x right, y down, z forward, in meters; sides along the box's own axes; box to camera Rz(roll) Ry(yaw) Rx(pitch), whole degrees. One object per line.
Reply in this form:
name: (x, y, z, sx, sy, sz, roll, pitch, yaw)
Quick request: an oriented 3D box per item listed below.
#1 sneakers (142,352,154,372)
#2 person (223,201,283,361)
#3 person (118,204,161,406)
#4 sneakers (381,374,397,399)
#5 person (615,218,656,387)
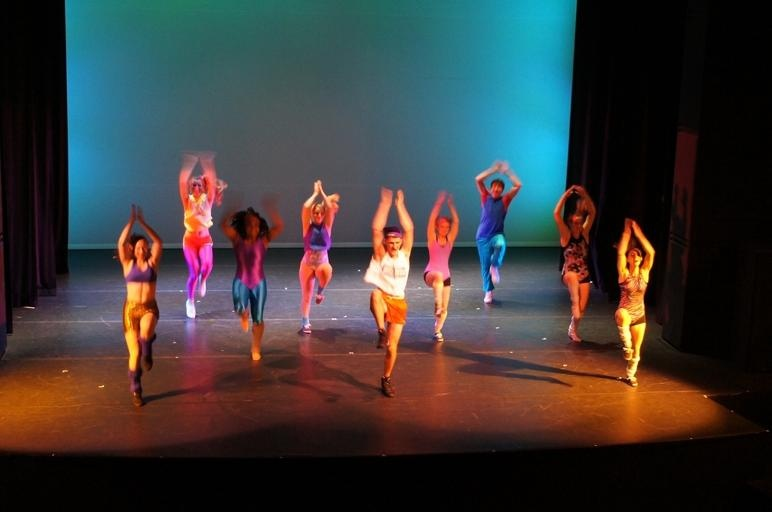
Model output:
sneakers: (-2.365, 1.054, 6.325, 0.097, 0.259, 0.110, 2, 7, -18)
person: (-1.470, 0.305, 6.990, 0.626, 1.731, 0.375, -1, 6, -14)
person: (-2.350, 0.477, 6.114, 0.357, 1.868, 0.432, -2, 6, -28)
sneakers: (0.037, 1.294, 6.282, 0.128, 0.195, 0.125, 0, 5, -11)
person: (2.796, 0.446, 7.137, 0.376, 1.707, 1.472, 3, 5, 22)
